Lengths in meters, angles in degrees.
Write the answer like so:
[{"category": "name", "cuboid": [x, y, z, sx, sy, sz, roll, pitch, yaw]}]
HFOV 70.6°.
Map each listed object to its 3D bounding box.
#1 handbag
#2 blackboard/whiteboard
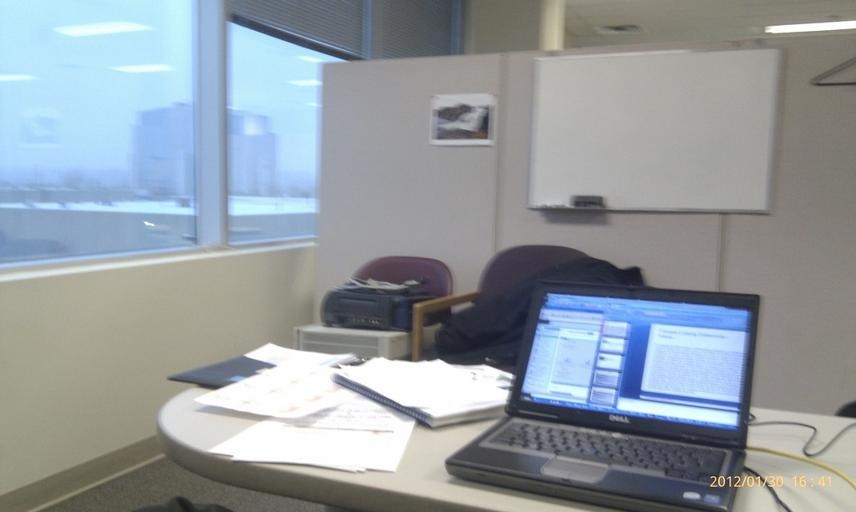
[{"category": "handbag", "cuboid": [0.709, 0.332, 3.834, 0.760, 0.979, 0.939, 3, -8, 25]}, {"category": "blackboard/whiteboard", "cuboid": [1.495, -0.793, 3.828, 1.233, 0.789, 0.091, 2, 3, 16]}]
